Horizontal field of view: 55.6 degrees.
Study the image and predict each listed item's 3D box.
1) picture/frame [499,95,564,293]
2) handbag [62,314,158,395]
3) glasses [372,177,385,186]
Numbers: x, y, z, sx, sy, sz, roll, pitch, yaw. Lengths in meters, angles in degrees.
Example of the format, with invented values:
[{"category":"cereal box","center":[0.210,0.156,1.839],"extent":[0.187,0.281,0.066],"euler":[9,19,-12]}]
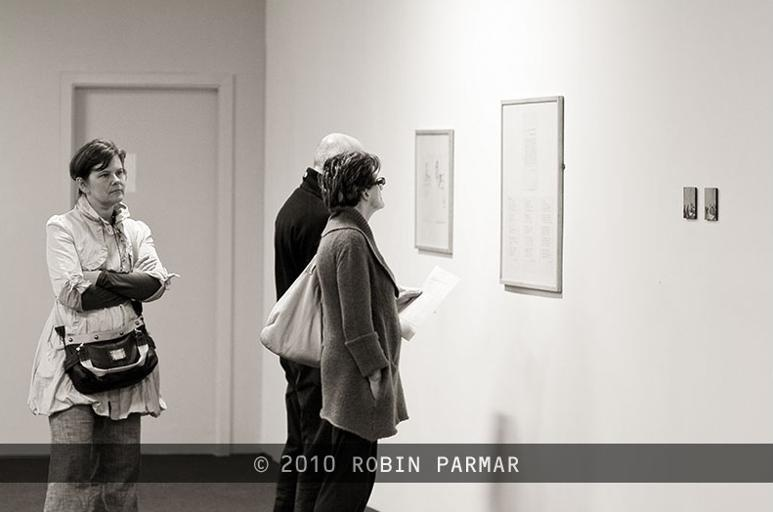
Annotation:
[{"category":"picture/frame","center":[0.764,-0.309,3.829],"extent":[0.090,1.006,0.371],"euler":[1,-1,-43]},{"category":"handbag","center":[-1.493,0.491,3.976],"extent":[0.488,0.503,0.283],"euler":[-17,7,-34]},{"category":"glasses","center":[-0.039,-0.346,3.439],"extent":[0.056,0.024,0.056],"euler":[-1,2,31]}]
